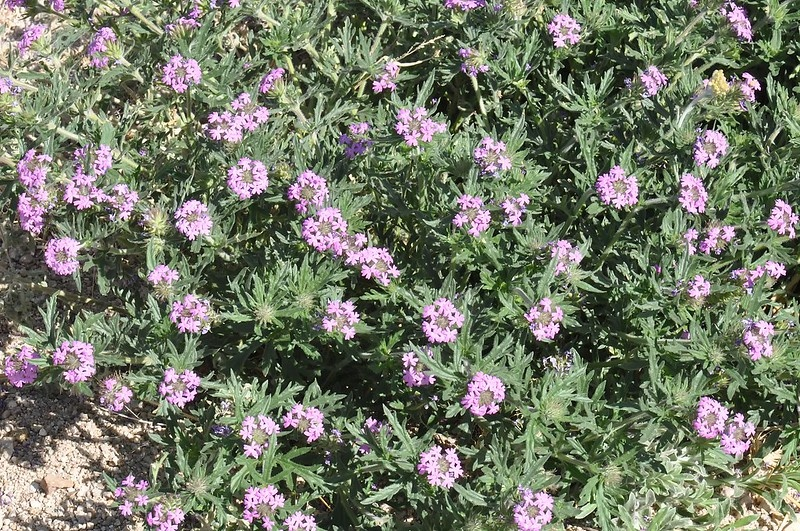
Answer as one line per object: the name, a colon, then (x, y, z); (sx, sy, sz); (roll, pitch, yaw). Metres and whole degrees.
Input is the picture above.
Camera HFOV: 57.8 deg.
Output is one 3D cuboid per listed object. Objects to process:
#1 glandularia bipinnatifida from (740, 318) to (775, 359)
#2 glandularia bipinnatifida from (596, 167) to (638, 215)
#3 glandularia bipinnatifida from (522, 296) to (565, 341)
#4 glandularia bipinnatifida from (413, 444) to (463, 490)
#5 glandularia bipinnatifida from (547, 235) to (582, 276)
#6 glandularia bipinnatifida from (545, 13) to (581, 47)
glandularia bipinnatifida: (2.870, 0.595, 5.796); (0.259, 0.100, 0.281); (19, 68, 4)
glandularia bipinnatifida: (1.808, -0.659, 6.104); (0.375, 0.187, 0.348); (-6, 72, -9)
glandularia bipinnatifida: (1.161, 0.440, 5.888); (0.302, 0.292, 0.282); (-42, 79, -18)
glandularia bipinnatifida: (0.309, 1.583, 5.724); (0.345, 0.381, 0.311); (40, 71, 8)
glandularia bipinnatifida: (1.374, -0.096, 5.957); (0.285, 0.273, 0.285); (13, 70, -2)
glandularia bipinnatifida: (1.566, -2.239, 6.821); (0.298, 0.107, 0.343); (-11, 99, -2)
